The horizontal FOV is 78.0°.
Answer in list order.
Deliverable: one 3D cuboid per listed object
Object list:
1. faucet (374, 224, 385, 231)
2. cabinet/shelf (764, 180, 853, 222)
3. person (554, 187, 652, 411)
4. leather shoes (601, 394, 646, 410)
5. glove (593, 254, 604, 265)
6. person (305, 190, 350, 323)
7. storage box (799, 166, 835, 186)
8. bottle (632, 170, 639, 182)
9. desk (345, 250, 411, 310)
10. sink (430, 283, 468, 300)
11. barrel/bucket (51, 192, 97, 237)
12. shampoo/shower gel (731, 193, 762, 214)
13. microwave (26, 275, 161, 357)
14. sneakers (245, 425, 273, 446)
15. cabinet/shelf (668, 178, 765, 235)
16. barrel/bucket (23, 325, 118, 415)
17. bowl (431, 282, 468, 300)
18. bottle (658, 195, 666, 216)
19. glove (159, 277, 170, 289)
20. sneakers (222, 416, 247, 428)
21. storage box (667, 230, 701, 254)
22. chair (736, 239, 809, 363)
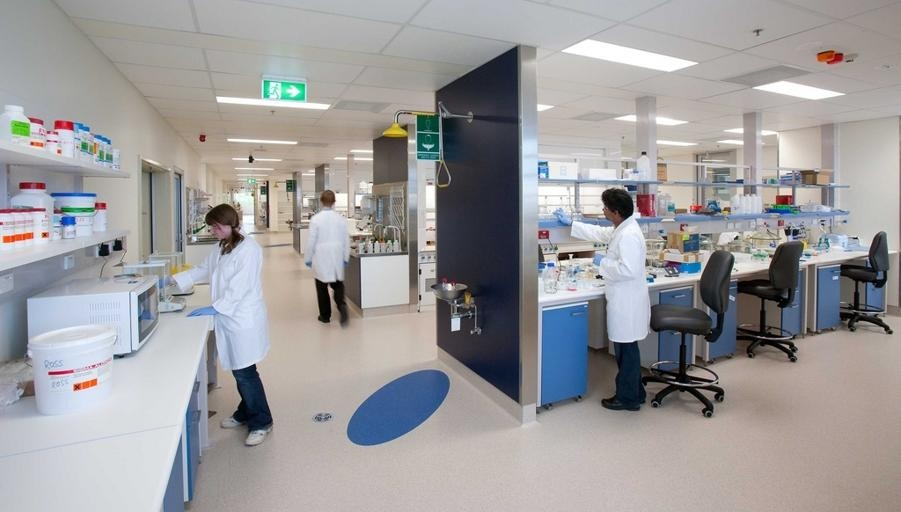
[{"bbox_3d":[-1.198,-0.483,9.400,0.198,0.119,0.056,-1,9,17],"label":"faucet"},{"bbox_3d":[5.746,-0.904,8.947,1.015,0.611,1.931,3,9,36],"label":"cabinet/shelf"},{"bbox_3d":[1.902,0.464,6.057,0.510,2.361,0.532,-1,9,19],"label":"person"},{"bbox_3d":[1.889,1.579,6.103,0.446,0.169,0.171,3,0,22],"label":"leather shoes"},{"bbox_3d":[1.799,0.033,6.854,0.068,0.156,0.146,20,-13,-35],"label":"glove"},{"bbox_3d":[-1.890,-0.010,8.592,0.680,2.013,0.885,-5,9,-11],"label":"person"},{"bbox_3d":[5.958,-1.280,9.062,0.502,0.270,0.468,1,-2,-12],"label":"storage box"},{"bbox_3d":[2.452,-1.072,7.343,0.087,0.140,0.212,0,8,23],"label":"bottle"},{"bbox_3d":[-1.187,0.374,8.896,1.055,0.891,0.558,-2,9,6],"label":"desk"},{"bbox_3d":[-0.013,0.406,6.324,0.403,0.217,0.326,-2,8,5],"label":"sink"},{"bbox_3d":[-3.306,-0.370,5.060,0.427,0.386,0.416,0,0,0],"label":"barrel/bucket"},{"bbox_3d":[4.362,-0.771,8.203,0.384,0.299,0.196,0,7,0],"label":"shampoo/shower gel"},{"bbox_3d":[-3.094,0.429,4.829,0.730,0.476,0.977,-1,5,-14],"label":"microwave"},{"bbox_3d":[-1.954,1.808,5.628,0.115,0.092,0.270,1,-4,9],"label":"sneakers"},{"bbox_3d":[4.228,-0.782,8.740,1.692,0.537,0.430,-3,9,-32],"label":"cabinet/shelf"},{"bbox_3d":[-3.014,0.842,4.505,0.701,0.565,0.693,2,2,0],"label":"barrel/bucket"},{"bbox_3d":[-0.038,0.384,6.242,0.264,0.090,0.265,0,3,0],"label":"bowl"},{"bbox_3d":[2.839,-0.698,7.479,0.104,0.293,0.157,3,11,35],"label":"bottle"},{"bbox_3d":[-2.929,0.262,5.675,0.074,0.072,0.267,-7,17,-38],"label":"glove"},{"bbox_3d":[-2.289,1.741,5.867,0.234,0.086,0.082,14,-2,-27],"label":"sneakers"},{"bbox_3d":[3.017,-0.181,7.223,0.367,0.240,0.326,0,2,-15],"label":"storage box"},{"bbox_3d":[4.117,0.521,7.210,0.704,1.475,0.806,1,10,28],"label":"chair"}]
